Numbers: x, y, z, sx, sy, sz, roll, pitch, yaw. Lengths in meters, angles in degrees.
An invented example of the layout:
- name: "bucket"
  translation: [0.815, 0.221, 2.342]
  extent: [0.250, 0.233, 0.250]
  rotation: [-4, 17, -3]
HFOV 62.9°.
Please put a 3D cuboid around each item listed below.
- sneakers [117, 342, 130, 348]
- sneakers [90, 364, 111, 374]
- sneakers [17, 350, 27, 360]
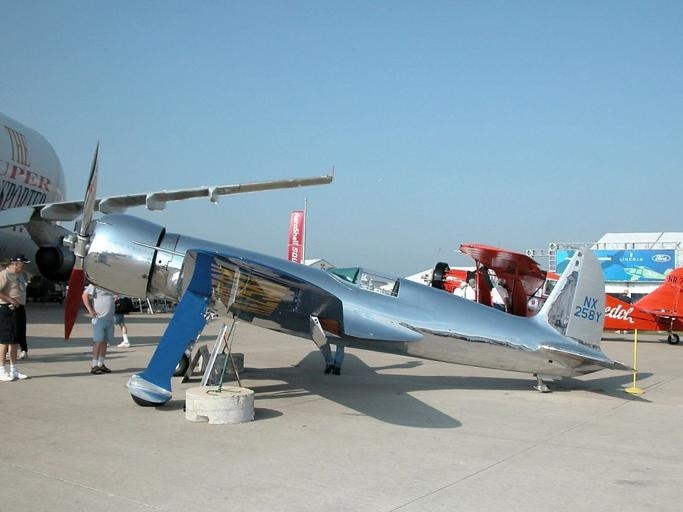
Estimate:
- name: "sneakers"
  translation: [-5.193, 2.124, 13.239]
  extent: [0.444, 0.124, 0.135]
  rotation: [0, -7, 11]
- name: "sneakers"
  translation: [-4.183, 1.976, 9.685]
  extent: [0.310, 0.093, 0.174]
  rotation: [-3, -4, 37]
- name: "sneakers"
  translation: [-6.138, 1.927, 10.735]
  extent: [0.153, 0.107, 0.335]
  rotation: [4, -11, -19]
